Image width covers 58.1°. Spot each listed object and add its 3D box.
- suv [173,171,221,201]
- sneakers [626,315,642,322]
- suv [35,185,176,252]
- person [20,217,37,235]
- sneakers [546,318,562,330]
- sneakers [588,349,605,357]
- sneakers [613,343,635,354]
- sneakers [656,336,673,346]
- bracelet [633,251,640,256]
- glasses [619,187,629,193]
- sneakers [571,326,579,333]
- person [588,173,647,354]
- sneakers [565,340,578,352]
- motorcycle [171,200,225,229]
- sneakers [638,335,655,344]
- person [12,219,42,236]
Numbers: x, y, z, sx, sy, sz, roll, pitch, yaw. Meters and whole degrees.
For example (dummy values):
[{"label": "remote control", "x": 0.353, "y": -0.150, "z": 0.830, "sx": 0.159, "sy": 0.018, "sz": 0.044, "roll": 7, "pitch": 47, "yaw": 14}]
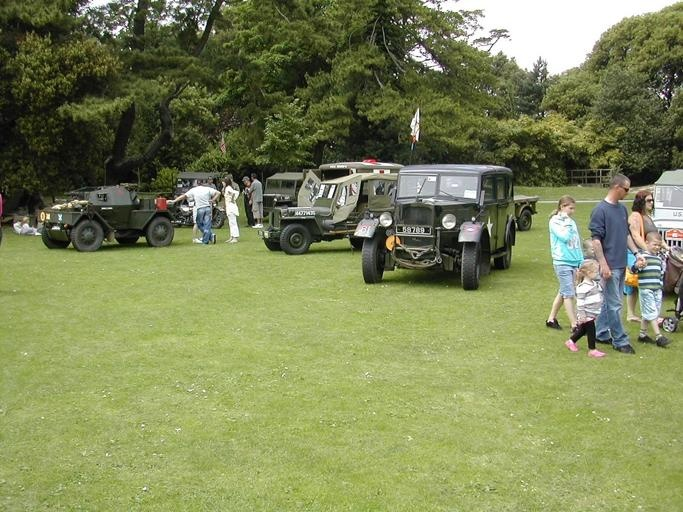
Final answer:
[{"label": "suv", "x": -6.669, "y": -3.410, "z": 27.654, "sx": 2.604, "sy": 1.772, "sz": 1.623, "roll": -3, "pitch": 7, "yaw": -10}, {"label": "sneakers", "x": 4.720, "y": 1.012, "z": 9.966, "sx": 0.097, "sy": 0.074, "sz": 0.189, "roll": 1, "pitch": -4, "yaw": -31}, {"label": "suv", "x": -7.683, "y": -1.230, "z": 19.999, "sx": 3.330, "sy": 2.009, "sz": 2.329, "roll": -5, "pitch": 8, "yaw": -38}, {"label": "person", "x": -12.543, "y": -1.223, "z": 24.659, "sx": 0.572, "sy": 0.574, "sz": 1.733, "roll": -5, "pitch": 11, "yaw": -27}, {"label": "sneakers", "x": 3.407, "y": 1.093, "z": 9.849, "sx": 0.111, "sy": 0.119, "sz": 0.255, "roll": 2, "pitch": -1, "yaw": -18}, {"label": "sneakers", "x": 3.508, "y": 1.332, "z": 8.449, "sx": 0.092, "sy": 0.065, "sz": 0.157, "roll": -9, "pitch": 4, "yaw": -33}, {"label": "sneakers", "x": 3.956, "y": 1.298, "z": 8.593, "sx": 0.095, "sy": 0.115, "sz": 0.258, "roll": 0, "pitch": -3, "yaw": -24}, {"label": "sneakers", "x": 4.625, "y": 1.208, "z": 8.783, "sx": 0.107, "sy": 0.086, "sz": 0.192, "roll": -13, "pitch": -1, "yaw": -25}, {"label": "bracelet", "x": 4.181, "y": -0.042, "z": 8.700, "sx": 0.063, "sy": 0.046, "sz": 0.069, "roll": 17, "pitch": 6, "yaw": -29}, {"label": "glasses", "x": 3.763, "y": -0.900, "z": 8.187, "sx": 0.084, "sy": 0.045, "sz": 0.100, "roll": 2, "pitch": -1, "yaw": -20}, {"label": "sneakers", "x": 3.477, "y": 1.077, "z": 9.175, "sx": 0.117, "sy": 0.067, "sz": 0.172, "roll": -1, "pitch": 1, "yaw": -2}, {"label": "person", "x": 3.802, "y": 0.088, "z": 8.535, "sx": 0.644, "sy": 2.454, "sz": 0.861, "roll": 5, "pitch": 10, "yaw": 31}, {"label": "sneakers", "x": 3.281, "y": 1.269, "z": 8.766, "sx": 0.076, "sy": 0.104, "sz": 0.220, "roll": -3, "pitch": -1, "yaw": -10}, {"label": "motorcycle", "x": -6.223, "y": -1.897, "z": 26.560, "sx": 1.978, "sy": 1.413, "sz": 1.213, "roll": 3, "pitch": 0, "yaw": 8}, {"label": "sneakers", "x": 4.462, "y": 1.204, "z": 9.016, "sx": 0.243, "sy": 0.121, "sz": 0.092, "roll": 3, "pitch": 10, "yaw": 27}, {"label": "person", "x": -12.661, "y": -1.122, "z": 24.734, "sx": 0.822, "sy": 0.415, "sz": 1.142, "roll": 2, "pitch": 3, "yaw": -12}]
